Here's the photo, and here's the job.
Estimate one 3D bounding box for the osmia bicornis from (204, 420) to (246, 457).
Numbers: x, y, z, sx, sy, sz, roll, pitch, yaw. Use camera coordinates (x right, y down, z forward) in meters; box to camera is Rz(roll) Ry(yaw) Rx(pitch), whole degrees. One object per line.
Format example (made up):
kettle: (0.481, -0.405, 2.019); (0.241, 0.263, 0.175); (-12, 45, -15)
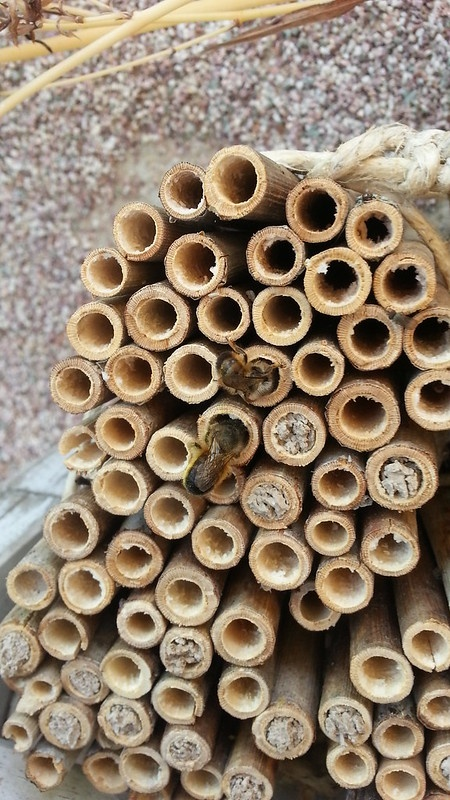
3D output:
osmia bicornis: (0.003, 0.057, 1.131); (0.051, 0.022, 0.054); (4, 81, -4)

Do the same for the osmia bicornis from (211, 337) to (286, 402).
osmia bicornis: (0.035, -0.033, 1.130); (0.091, 0.087, 0.062); (11, 49, 19)

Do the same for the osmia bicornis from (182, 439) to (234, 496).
osmia bicornis: (-0.028, 0.102, 1.127); (0.060, 0.066, 0.063); (10, 48, 18)
